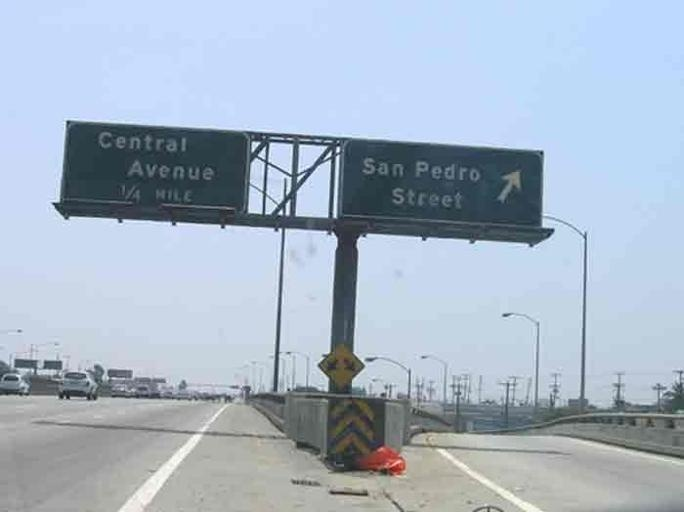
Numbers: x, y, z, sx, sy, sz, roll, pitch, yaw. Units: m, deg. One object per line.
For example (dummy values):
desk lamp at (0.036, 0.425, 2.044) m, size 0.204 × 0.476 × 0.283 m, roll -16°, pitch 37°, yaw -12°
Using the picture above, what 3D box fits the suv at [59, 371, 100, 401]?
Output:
suv at (-14.711, 7.122, 45.639) m, size 1.688 × 1.639 × 3.134 m, roll 2°, pitch -13°, yaw -2°
